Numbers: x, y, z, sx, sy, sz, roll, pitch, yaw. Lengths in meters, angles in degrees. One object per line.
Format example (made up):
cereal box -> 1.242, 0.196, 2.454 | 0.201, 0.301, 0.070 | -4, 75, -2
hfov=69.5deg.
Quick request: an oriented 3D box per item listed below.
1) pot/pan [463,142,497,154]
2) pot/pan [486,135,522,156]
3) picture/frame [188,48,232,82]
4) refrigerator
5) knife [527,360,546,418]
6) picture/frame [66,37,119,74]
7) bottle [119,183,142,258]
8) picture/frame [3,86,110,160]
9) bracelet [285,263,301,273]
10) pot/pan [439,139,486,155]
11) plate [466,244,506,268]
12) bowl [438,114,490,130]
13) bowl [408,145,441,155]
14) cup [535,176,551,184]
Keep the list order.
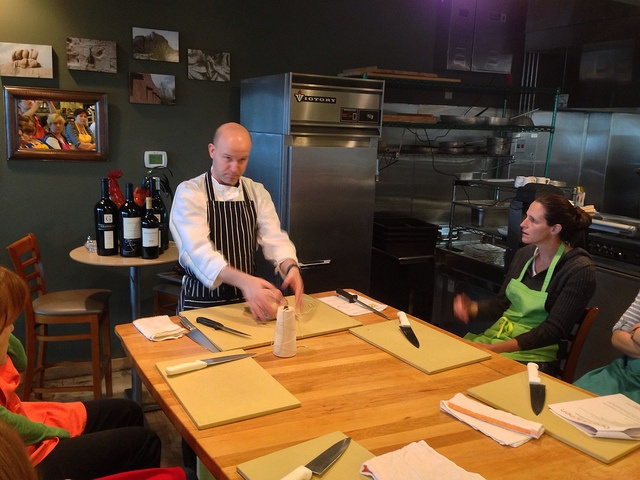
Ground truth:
pot/pan -> 1.487, -0.858, 4.333 | 0.305, 0.094, 0.177 | 8, 10, 44
pot/pan -> 1.752, -0.913, 4.474 | 0.239, 0.203, 0.307 | -4, 17, -19
picture/frame -> -0.904, -1.418, 3.711 | 0.298, 0.204, 0.011 | -1, 9, -25
refrigerator -> -0.115, -0.370, 3.787 | 0.873, 1.804, 0.848 | -5, 16, -28
knife -> 0.771, 0.513, 1.632 | 0.052, 0.269, 0.024 | -6, 30, 27
picture/frame -> -1.686, -1.369, 3.402 | 0.012, 0.249, 0.362 | 38, 37, 29
bottle -> -1.294, -0.137, 3.141 | 0.162, 0.483, 0.252 | -6, 16, -24
picture/frame -> -1.962, -0.875, 3.380 | 0.574, 0.456, 0.039 | -1, 6, -22
bracelet -> -0.140, 0.151, 2.427 | 0.019, 0.051, 0.051 | 39, 27, -5
pot/pan -> 1.307, -0.851, 4.271 | 0.471, 0.113, 0.153 | -3, 15, -16
plate -> 1.311, 0.113, 3.646 | 0.205, 0.049, 0.209 | -2, 11, -26
bowl -> 1.259, -1.034, 4.047 | 0.443, 0.119, 0.217 | 3, 14, 9
bowl -> 0.944, -0.810, 4.162 | 0.335, 0.075, 0.180 | -11, 18, -39
cup -> 1.585, -0.416, 3.258 | 0.100, 0.062, 0.100 | 0, 5, 0
